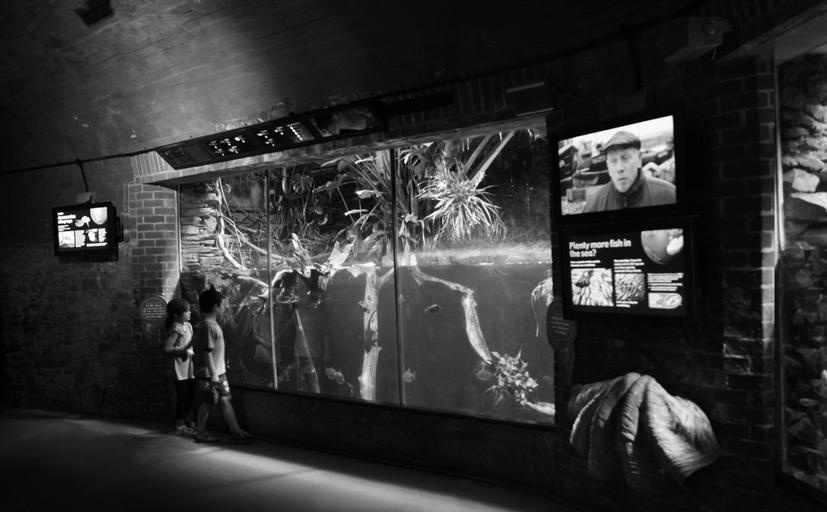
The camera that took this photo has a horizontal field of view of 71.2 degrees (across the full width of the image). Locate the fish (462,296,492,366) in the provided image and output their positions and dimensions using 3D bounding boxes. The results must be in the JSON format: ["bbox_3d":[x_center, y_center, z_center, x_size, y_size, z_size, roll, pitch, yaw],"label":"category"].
[{"bbox_3d":[0.729,0.886,6.911,0.246,0.870,0.133,-23,-14,32],"label":"fish"}]

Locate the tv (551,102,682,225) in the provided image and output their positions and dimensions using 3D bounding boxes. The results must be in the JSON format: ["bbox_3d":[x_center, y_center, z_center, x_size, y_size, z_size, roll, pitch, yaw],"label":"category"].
[{"bbox_3d":[2.013,-0.883,5.592,1.360,0.929,0.174,-1,0,36],"label":"tv"}]

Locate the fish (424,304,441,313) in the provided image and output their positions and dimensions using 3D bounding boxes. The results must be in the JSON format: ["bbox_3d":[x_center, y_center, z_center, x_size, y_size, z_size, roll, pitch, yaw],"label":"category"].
[{"bbox_3d":[0.244,0.656,7.162,0.133,0.058,0.130,-20,12,-33],"label":"fish"}]

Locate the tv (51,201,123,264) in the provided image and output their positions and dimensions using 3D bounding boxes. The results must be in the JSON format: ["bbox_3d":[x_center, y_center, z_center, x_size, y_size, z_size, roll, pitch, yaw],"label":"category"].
[{"bbox_3d":[-5.235,-0.382,9.304,1.288,0.955,0.200,0,3,18],"label":"tv"}]

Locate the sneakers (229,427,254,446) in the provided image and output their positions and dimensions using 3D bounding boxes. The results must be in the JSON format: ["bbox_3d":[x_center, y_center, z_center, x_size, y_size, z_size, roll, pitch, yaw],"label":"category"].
[{"bbox_3d":[-2.353,2.505,7.996,0.376,0.148,0.135,0,-1,-8],"label":"sneakers"}]

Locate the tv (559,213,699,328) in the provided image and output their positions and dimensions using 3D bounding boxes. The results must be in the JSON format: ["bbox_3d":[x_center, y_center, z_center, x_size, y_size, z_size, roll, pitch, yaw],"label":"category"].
[{"bbox_3d":[2.115,0.137,5.521,1.226,0.830,0.138,-1,1,36],"label":"tv"}]

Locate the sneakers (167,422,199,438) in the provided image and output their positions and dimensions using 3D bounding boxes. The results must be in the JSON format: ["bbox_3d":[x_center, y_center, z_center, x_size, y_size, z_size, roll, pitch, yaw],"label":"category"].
[{"bbox_3d":[-3.233,2.460,8.212,0.523,0.204,0.182,0,-3,12],"label":"sneakers"}]

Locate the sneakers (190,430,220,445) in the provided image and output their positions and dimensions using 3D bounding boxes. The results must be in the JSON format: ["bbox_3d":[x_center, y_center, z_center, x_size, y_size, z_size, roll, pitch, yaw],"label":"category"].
[{"bbox_3d":[-2.830,2.502,7.927,0.416,0.162,0.147,3,-3,-20],"label":"sneakers"}]

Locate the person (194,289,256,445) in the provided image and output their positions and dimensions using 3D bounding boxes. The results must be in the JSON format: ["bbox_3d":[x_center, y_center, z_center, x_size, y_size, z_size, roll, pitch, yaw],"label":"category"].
[{"bbox_3d":[-2.776,1.523,8.250,0.669,2.128,1.113,-2,3,-20],"label":"person"}]

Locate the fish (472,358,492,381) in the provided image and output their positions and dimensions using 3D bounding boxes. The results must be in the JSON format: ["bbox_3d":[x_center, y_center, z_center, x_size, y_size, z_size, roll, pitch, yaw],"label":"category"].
[{"bbox_3d":[0.817,1.358,6.848,0.221,0.226,0.056,-27,-16,36],"label":"fish"}]

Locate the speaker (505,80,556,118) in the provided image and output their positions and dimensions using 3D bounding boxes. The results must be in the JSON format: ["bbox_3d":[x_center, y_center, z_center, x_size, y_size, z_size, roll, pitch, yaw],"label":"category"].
[{"bbox_3d":[1.225,-1.663,6.139,0.501,0.322,0.148,1,4,30],"label":"speaker"}]

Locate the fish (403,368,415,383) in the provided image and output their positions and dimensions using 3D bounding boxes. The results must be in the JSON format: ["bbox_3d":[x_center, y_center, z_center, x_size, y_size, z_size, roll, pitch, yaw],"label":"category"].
[{"bbox_3d":[-0.056,1.524,7.294,0.175,0.165,0.058,-14,-2,25],"label":"fish"}]
